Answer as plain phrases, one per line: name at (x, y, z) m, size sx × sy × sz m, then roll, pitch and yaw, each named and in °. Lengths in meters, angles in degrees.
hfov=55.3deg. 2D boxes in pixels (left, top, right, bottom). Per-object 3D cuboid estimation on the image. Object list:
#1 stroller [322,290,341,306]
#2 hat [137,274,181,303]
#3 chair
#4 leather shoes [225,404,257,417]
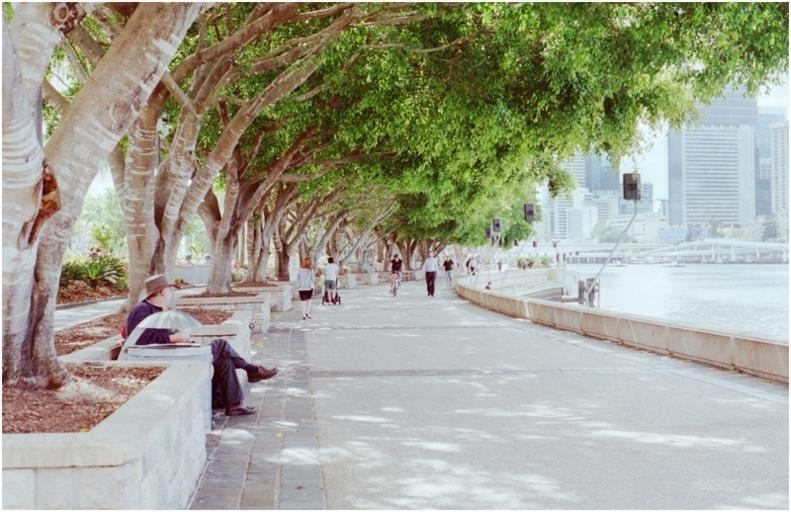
stroller at (-2.428, 1.591, 28.241) m, size 0.759 × 0.649 × 0.566 m, roll 0°, pitch -4°, yaw 2°
hat at (-3.769, 0.518, 11.834) m, size 0.672 × 0.292 × 0.723 m, roll -7°, pitch 8°, yaw 31°
chair at (-2.986, 1.037, 10.014) m, size 1.148 × 0.480 × 0.799 m, roll -1°, pitch 0°, yaw -18°
leather shoes at (-2.228, 2.210, 10.853) m, size 0.456 × 0.190 × 0.158 m, roll -1°, pitch 2°, yaw -7°
